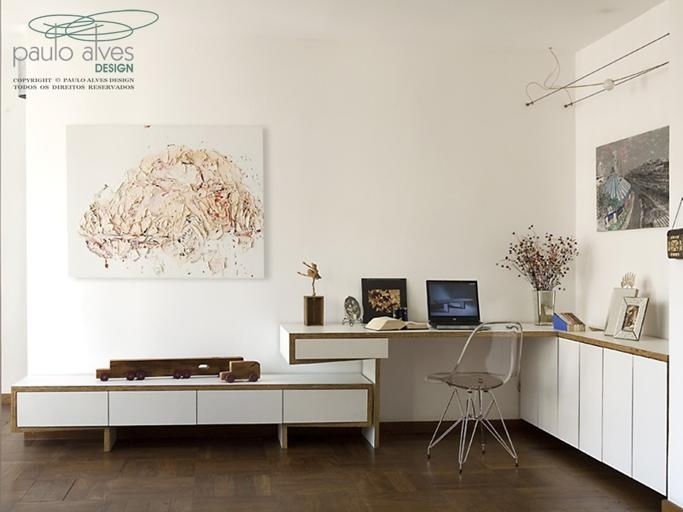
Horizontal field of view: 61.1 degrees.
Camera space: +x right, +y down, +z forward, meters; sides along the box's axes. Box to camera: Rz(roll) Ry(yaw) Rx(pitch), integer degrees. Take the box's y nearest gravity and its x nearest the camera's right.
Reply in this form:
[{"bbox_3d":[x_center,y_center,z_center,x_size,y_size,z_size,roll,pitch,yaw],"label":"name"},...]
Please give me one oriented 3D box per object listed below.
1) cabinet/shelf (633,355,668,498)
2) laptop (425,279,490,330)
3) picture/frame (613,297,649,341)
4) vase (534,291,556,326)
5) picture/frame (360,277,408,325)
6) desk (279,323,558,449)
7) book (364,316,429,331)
[{"bbox_3d":[2.026,1.093,3.801,0.083,0.832,0.332,-1,6,-13],"label":"cabinet/shelf"},{"bbox_3d":[0.951,0.396,4.837,0.476,0.373,0.438,-1,-3,13],"label":"laptop"},{"bbox_3d":[2.188,0.484,4.351,0.043,0.439,0.279,22,-10,-17],"label":"picture/frame"},{"bbox_3d":[1.776,0.458,5.095,0.202,0.299,0.205,-4,-7,41],"label":"vase"},{"bbox_3d":[0.383,0.393,5.121,0.379,0.448,0.028,-3,30,8],"label":"picture/frame"},{"bbox_3d":[0.681,1.069,4.990,2.150,0.975,0.772,0,2,-5],"label":"desk"},{"bbox_3d":[0.468,0.550,4.796,0.548,0.094,0.232,-1,6,-11],"label":"book"}]
